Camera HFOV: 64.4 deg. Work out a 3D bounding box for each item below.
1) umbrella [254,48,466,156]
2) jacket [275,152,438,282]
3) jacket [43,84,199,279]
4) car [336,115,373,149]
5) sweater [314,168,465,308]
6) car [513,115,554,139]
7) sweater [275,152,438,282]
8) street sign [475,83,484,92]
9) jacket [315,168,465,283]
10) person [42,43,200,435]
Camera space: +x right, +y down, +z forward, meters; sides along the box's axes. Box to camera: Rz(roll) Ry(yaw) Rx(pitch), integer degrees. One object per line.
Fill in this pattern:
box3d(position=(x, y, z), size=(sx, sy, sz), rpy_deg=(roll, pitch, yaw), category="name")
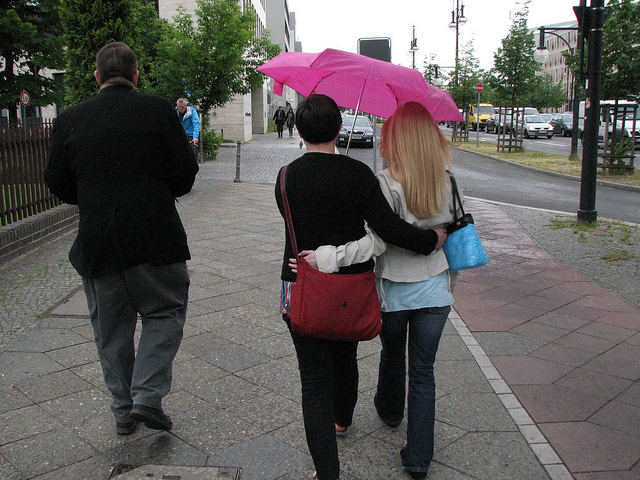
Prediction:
box3d(position=(0.275, -1.027, 3.866), size=(1.133, 0.741, 1.526), rpy_deg=(-11, 19, -40), category="umbrella")
box3d(position=(0.126, -0.194, 3.043), size=(0.988, 0.661, 0.612), rpy_deg=(1, 14, 27), category="jacket")
box3d(position=(-1.308, -0.378, 3.267), size=(0.918, 1.209, 0.412), rpy_deg=(3, 14, 6), category="jacket")
box3d(position=(1.928, -6.376, 30.816), size=(2.213, 1.784, 4.278), rpy_deg=(1, 6, -6), category="car")
box3d(position=(0.584, -0.103, 3.158), size=(1.198, 0.846, 0.398), rpy_deg=(-17, 30, -28), category="sweater")
box3d(position=(16.414, -8.570, 38.735), size=(1.815, 1.559, 2.181), rpy_deg=(2, 14, 2), category="car")
box3d(position=(0.146, -0.195, 3.059), size=(1.020, 0.668, 0.595), rpy_deg=(-2, 10, 22), category="sweater")
box3d(position=(10.152, -9.668, 32.277), size=(0.372, 0.568, 1.995), rpy_deg=(5, 15, 17), category="street sign")
box3d(position=(0.381, -0.081, 2.955), size=(0.684, 0.359, 0.237), rpy_deg=(-6, 13, -11), category="jacket")
box3d(position=(-1.318, 0.030, 3.336), size=(0.841, 2.557, 0.719), rpy_deg=(5, 15, 17), category="person")
